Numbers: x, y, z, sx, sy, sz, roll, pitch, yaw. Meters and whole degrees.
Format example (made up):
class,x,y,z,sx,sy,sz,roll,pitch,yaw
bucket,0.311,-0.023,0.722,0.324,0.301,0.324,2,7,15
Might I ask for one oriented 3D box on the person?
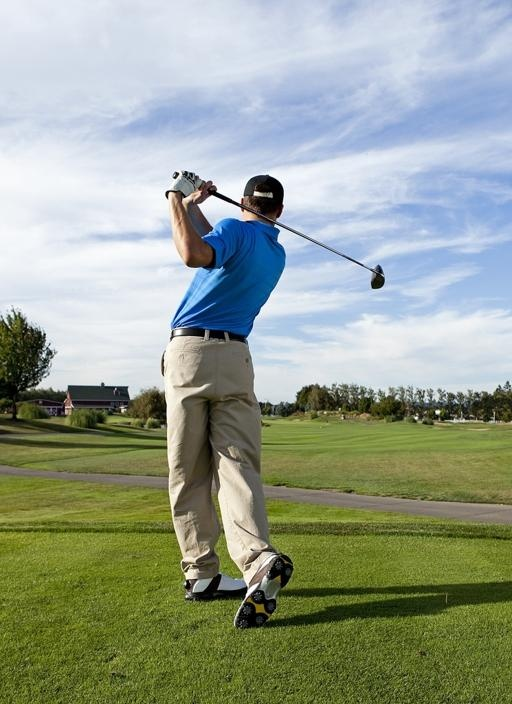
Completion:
class,x,y,z,sx,sy,sz,roll,pitch,yaw
person,-0.123,0.095,2.646,0.581,1.982,0.788,1,-5,-9

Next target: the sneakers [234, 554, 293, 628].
class,x,y,z,sx,sy,sz,roll,pitch,yaw
sneakers,0.033,0.879,2.229,0.107,0.315,0.146,44,-39,-9
